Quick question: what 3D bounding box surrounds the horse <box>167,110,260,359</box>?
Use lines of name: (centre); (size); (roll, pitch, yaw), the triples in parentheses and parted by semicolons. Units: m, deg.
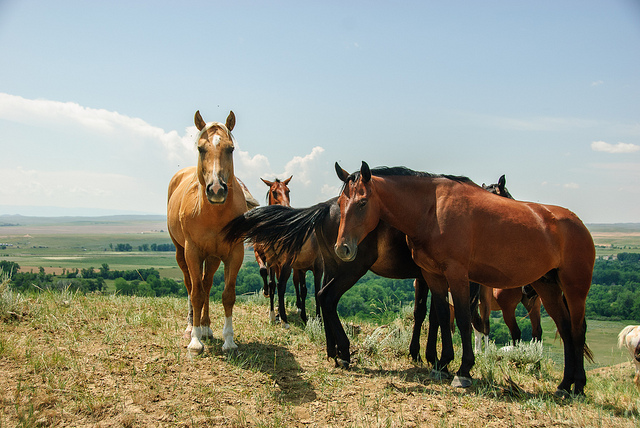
horse: (-2.422, 0.366, 11.738); (1.554, 5.078, 2.912); (-1, -1, -17)

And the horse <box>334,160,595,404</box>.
horse: (3.182, 1.290, 11.076); (5.834, 4.232, 1.624); (8, -8, -9)
